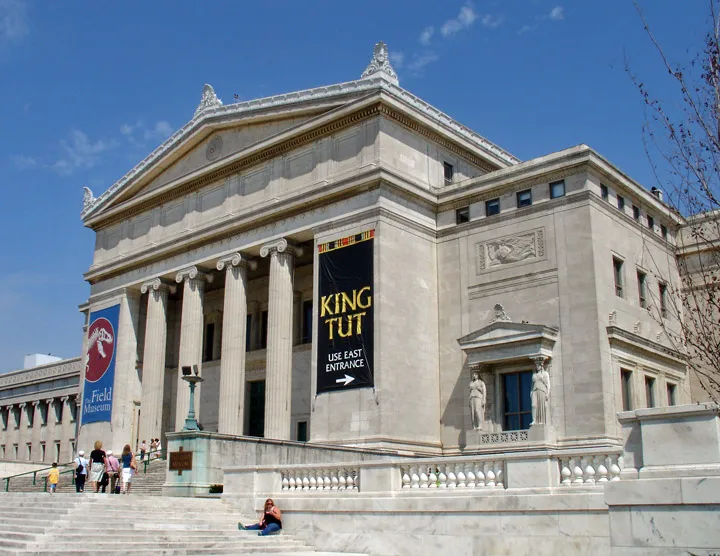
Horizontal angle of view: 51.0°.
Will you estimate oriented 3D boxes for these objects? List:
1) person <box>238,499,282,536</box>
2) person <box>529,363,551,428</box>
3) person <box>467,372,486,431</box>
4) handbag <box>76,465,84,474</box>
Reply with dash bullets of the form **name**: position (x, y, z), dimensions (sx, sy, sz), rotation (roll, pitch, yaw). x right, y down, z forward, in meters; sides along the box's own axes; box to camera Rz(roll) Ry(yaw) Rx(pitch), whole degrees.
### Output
- **person**: position (-3.173, 7.841, 24.797), dimensions (1.048, 1.081, 1.380), rotation (-5, -9, 40)
- **person**: position (8.440, 5.427, 35.381), dimensions (1.042, 3.092, 0.579), rotation (9, -20, -25)
- **person**: position (5.804, 6.043, 37.133), dimensions (0.787, 2.888, 0.965), rotation (-3, -18, 10)
- **handbag**: position (-10.824, 7.379, 29.070), dimensions (0.259, 0.282, 0.153), rotation (-15, -27, 3)
